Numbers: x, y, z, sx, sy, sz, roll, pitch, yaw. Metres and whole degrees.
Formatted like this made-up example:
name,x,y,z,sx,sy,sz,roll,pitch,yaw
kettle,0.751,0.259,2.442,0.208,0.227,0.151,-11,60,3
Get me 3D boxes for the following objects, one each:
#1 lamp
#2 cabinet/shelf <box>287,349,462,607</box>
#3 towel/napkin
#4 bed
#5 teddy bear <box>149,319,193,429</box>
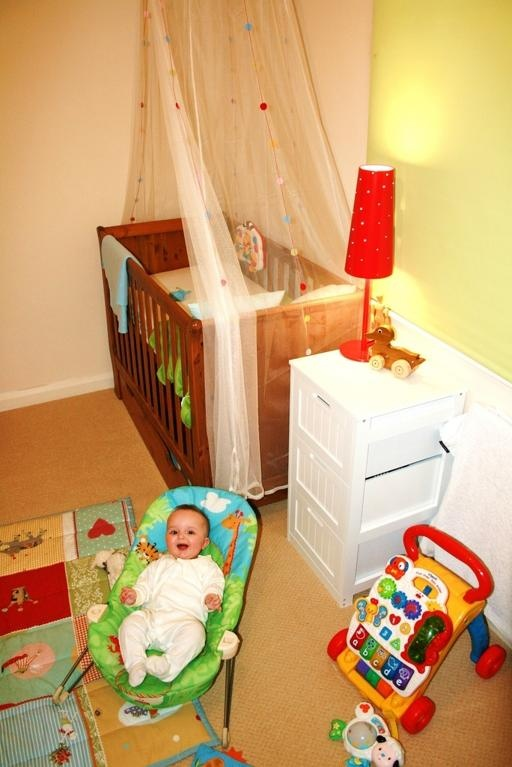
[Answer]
name,x,y,z,sx,sy,sz,roll,pitch,yaw
lamp,0.351,-0.366,1.755,0.139,0.610,0.209,-2,30,-3
cabinet/shelf,0.371,0.315,1.885,0.393,0.757,0.403,-11,26,-23
towel/napkin,-0.620,-0.444,2.546,0.115,0.420,0.334,-10,41,-7
bed,-0.246,-0.157,2.443,0.588,0.856,1.042,-19,35,-26
teddy bear,-0.316,-0.049,2.073,0.098,0.358,0.255,-21,38,-15
